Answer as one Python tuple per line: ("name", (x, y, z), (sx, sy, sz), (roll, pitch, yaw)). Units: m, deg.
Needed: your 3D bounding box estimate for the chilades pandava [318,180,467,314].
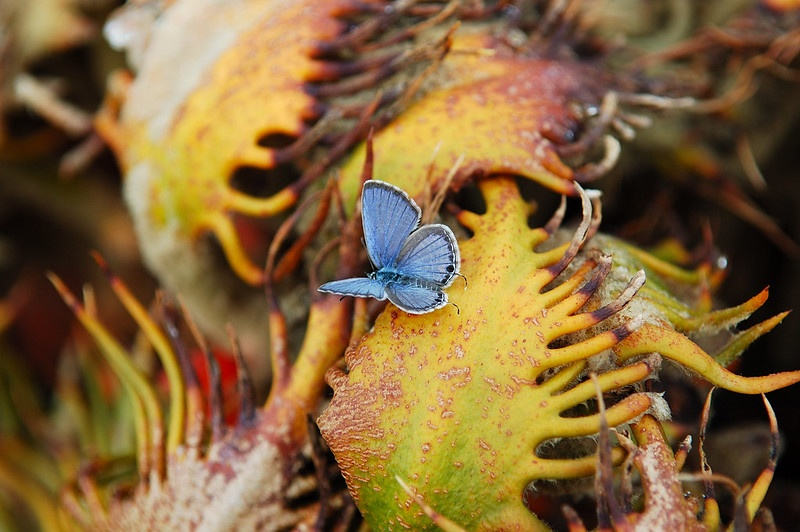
("chilades pandava", (0.000, -0.001, 2.200), (0.221, 0.133, 0.246), (20, 72, 14))
